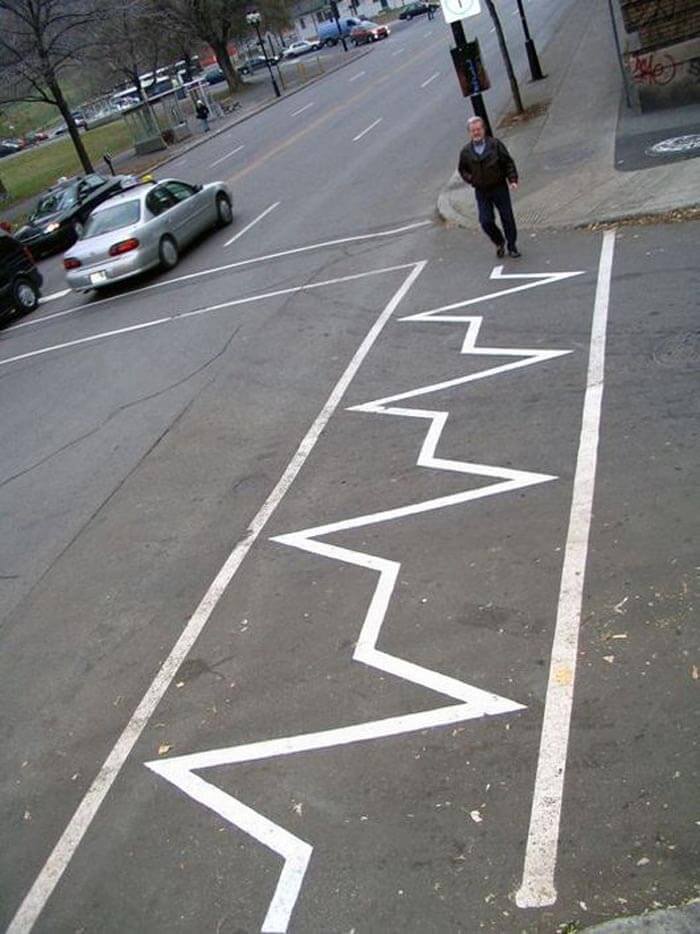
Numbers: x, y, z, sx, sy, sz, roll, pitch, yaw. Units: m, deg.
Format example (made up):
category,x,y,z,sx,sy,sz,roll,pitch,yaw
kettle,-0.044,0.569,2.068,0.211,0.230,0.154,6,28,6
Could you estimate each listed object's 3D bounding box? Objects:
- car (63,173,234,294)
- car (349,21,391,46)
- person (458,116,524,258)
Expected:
category,x,y,z,sx,sy,sz,roll,pitch,yaw
car,-4.359,-5.174,17.514,1.750,1.565,4.759,-2,33,31
car,1.392,-33.230,59.833,1.702,1.873,5.138,-22,24,-6
person,1.907,-3.832,10.702,0.730,1.878,1.197,-12,24,15
